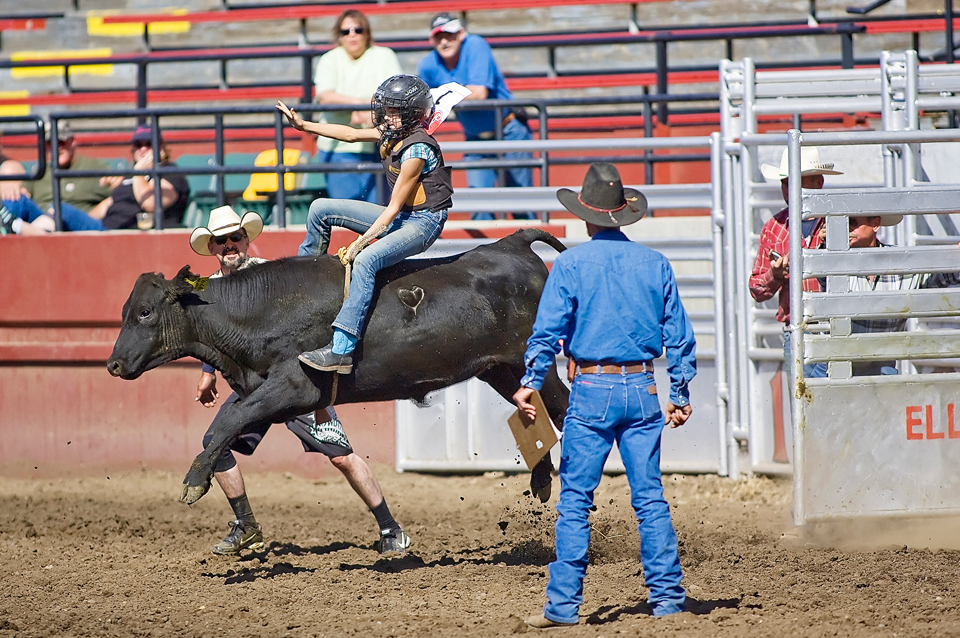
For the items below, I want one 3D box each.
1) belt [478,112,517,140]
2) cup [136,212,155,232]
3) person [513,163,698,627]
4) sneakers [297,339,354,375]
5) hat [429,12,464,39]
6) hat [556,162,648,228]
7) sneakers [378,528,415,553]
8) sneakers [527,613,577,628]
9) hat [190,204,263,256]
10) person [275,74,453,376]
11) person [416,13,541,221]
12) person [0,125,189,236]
[{"bbox_3d":[0.167,-1.975,24.167,0.338,0.108,0.251,-21,-7,35],"label":"belt"},{"bbox_3d":[-3.527,-1.014,24.389,0.196,0.148,0.179,-1,-2,0],"label":"cup"},{"bbox_3d":[1.103,0.644,19.979,1.460,3.930,0.501,-2,2,0],"label":"person"},{"bbox_3d":[-1.419,0.339,20.730,0.537,0.256,0.207,12,3,-14],"label":"sneakers"},{"bbox_3d":[-0.336,-3.052,24.269,0.260,0.225,0.396,-5,-15,11],"label":"hat"},{"bbox_3d":[1.084,-1.085,20.137,0.688,0.314,0.733,2,-11,4],"label":"hat"},{"bbox_3d":[-0.807,2.066,21.657,0.292,0.257,0.344,-2,2,-2],"label":"sneakers"},{"bbox_3d":[0.621,2.558,19.933,0.438,0.164,0.150,5,-1,9],"label":"sneakers"},{"bbox_3d":[-2.410,-0.909,21.807,0.495,0.207,0.531,-19,-16,-9],"label":"hat"},{"bbox_3d":[-0.945,-0.850,21.006,1.368,2.671,0.738,-2,2,-1],"label":"person"},{"bbox_3d":[-0.062,-1.814,24.299,1.023,2.604,0.936,-15,-2,33],"label":"person"},{"bbox_3d":[-4.006,-1.485,24.661,1.785,1.129,1.068,-2,2,-1],"label":"person"}]
